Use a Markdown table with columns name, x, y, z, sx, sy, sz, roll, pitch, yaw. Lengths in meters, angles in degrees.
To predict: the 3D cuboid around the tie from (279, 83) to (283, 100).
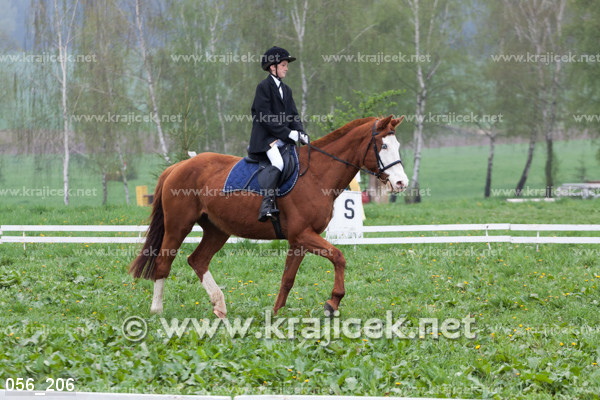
| name | x | y | z | sx | sy | sz | roll | pitch | yaw |
| --- | --- | --- | --- | --- | --- | --- | --- | --- | --- |
| tie | -0.864 | -4.755 | 41.979 | 0.078 | 0.756 | 0.106 | 0 | -5 | 2 |
